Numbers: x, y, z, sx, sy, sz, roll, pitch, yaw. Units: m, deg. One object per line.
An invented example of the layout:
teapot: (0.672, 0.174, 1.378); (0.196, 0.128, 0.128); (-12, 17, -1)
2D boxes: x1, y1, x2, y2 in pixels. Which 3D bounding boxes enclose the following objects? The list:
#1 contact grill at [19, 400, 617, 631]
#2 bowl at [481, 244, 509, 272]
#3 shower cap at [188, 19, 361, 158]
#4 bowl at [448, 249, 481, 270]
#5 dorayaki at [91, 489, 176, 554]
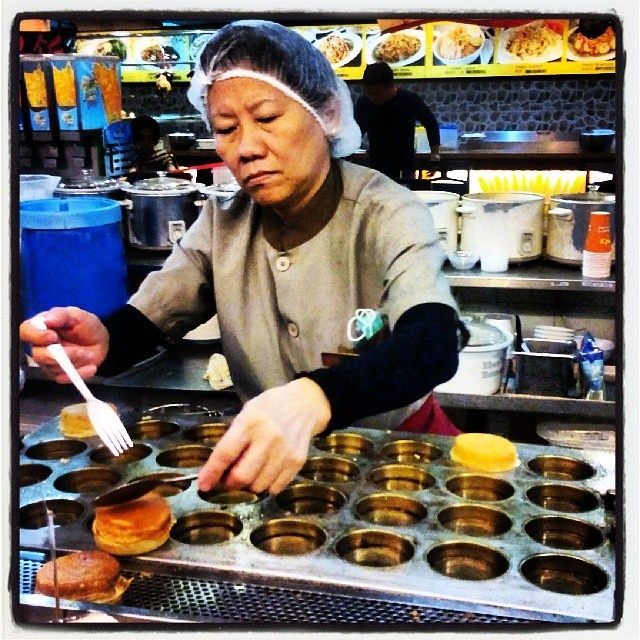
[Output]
contact grill: (-0.042, 0.485, 1.805); (1.540, 0.130, 1.009); (3, 10, 15)
bowl: (0.969, -0.347, 3.960); (0.177, 0.104, 0.155); (-2, 21, 2)
shower cap: (-0.176, -0.690, 2.143); (0.399, 0.380, 0.619); (6, 12, 29)
bowl: (0.825, -0.346, 4.060); (0.138, 0.066, 0.136); (0, 5, 0)
dorayaki: (-0.437, 0.467, 1.710); (0.179, 0.095, 0.182); (-3, 13, -13)
